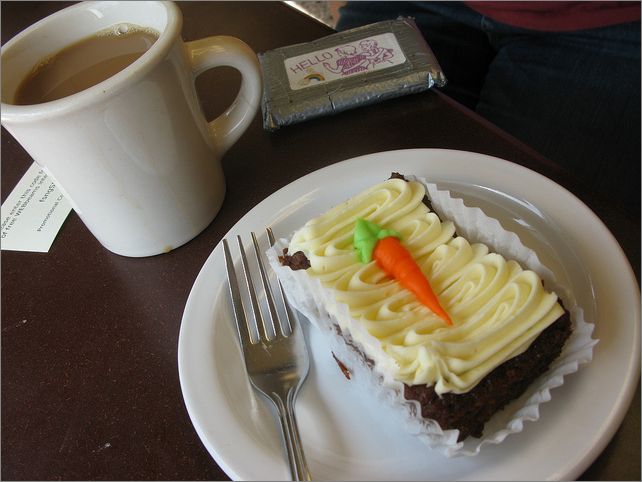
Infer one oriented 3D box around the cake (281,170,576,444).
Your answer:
[{"bbox_3d":[0.238,0.136,1.466,0.721,0.181,0.479,38,71,25],"label":"cake"}]
